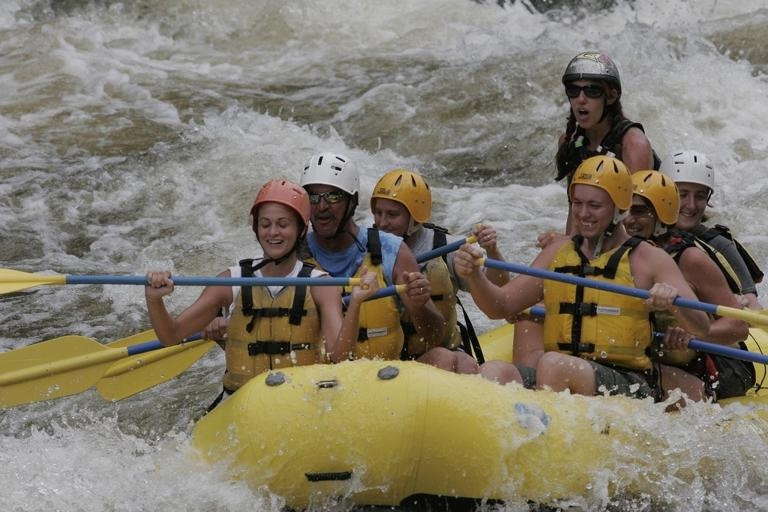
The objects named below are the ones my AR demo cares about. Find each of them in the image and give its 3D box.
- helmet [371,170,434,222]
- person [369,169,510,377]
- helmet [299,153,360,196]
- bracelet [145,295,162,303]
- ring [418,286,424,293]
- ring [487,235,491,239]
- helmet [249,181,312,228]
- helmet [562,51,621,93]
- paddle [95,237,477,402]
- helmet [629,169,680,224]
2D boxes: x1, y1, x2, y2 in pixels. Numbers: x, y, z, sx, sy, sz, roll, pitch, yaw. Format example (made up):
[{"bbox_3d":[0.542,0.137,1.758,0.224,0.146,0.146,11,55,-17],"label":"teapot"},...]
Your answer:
[{"bbox_3d":[0.151,-0.527,9.181,0.459,0.445,0.588,16,18,42],"label":"helmet"},{"bbox_3d":[0.490,0.204,9.241,1.239,0.785,1.938,-28,43,24],"label":"person"},{"bbox_3d":[-0.457,-0.750,8.934,0.347,0.444,0.322,5,55,8],"label":"helmet"},{"bbox_3d":[-1.771,0.336,8.116,0.069,0.090,0.035,8,75,3],"label":"bracelet"},{"bbox_3d":[0.294,0.263,8.286,0.042,0.050,0.017,-4,4,-6],"label":"ring"},{"bbox_3d":[0.868,-0.158,8.650,0.027,0.008,0.025,-7,76,1],"label":"ring"},{"bbox_3d":[-0.809,-0.481,8.338,0.338,0.424,0.342,6,22,6],"label":"helmet"},{"bbox_3d":[1.888,-1.719,9.497,0.531,0.333,0.524,3,12,11],"label":"helmet"},{"bbox_3d":[-0.748,0.576,8.671,2.939,0.553,0.195,-24,31,-7],"label":"paddle"},{"bbox_3d":[2.296,-0.481,8.907,0.550,0.427,0.393,3,10,-28],"label":"helmet"}]
